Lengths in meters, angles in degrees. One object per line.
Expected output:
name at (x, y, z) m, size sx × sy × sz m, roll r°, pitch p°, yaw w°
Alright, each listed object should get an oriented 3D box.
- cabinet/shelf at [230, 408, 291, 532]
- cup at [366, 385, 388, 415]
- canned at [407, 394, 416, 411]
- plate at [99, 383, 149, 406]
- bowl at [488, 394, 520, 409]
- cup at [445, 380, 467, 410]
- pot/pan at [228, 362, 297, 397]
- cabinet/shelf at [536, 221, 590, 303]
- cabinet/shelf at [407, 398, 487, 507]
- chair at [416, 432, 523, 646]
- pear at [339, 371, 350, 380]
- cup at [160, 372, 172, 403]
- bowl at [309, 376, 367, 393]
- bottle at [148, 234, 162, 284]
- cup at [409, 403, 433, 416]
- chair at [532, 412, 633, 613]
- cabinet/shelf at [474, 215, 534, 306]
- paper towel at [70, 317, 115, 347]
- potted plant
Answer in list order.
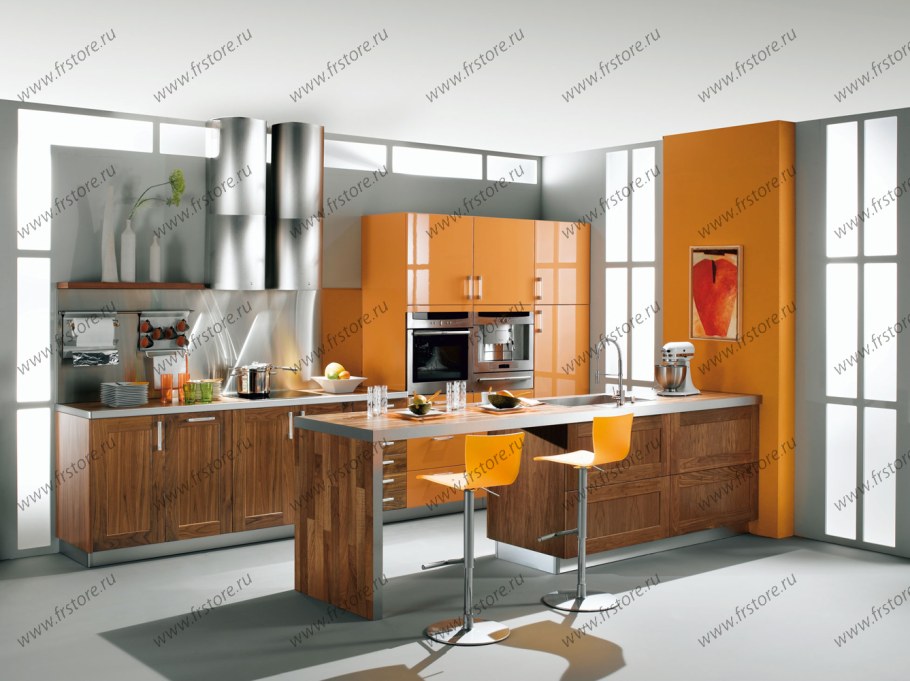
cabinet/shelf at (-1.485, 1.047, 6.304) m, size 0.675 × 0.942 × 0.659 m, roll 5°, pitch -11°, yaw -22°
cup at (-0.510, 0.387, 4.949) m, size 0.154 × 0.259 × 0.171 m, roll -1°, pitch -2°, yaw 9°
canned at (-0.271, 0.395, 4.861) m, size 0.092 × 0.109 × 0.038 m, roll -3°, pitch -6°, yaw 24°
plate at (-2.492, 0.397, 5.754) m, size 0.195 × 0.110 × 0.251 m, roll 1°, pitch 2°, yaw 8°
bowl at (0.325, 0.412, 5.147) m, size 0.201 × 0.107 × 0.115 m, roll 0°, pitch 2°, yaw -4°
cup at (-0.008, 0.374, 5.148) m, size 0.169 × 0.300 × 0.164 m, roll 1°, pitch 3°, yaw 0°
pot/pan at (-1.671, 0.336, 6.599) m, size 0.560 × 0.282 × 0.539 m, roll -1°, pitch 2°, yaw -32°
cabinet/shelf at (0.980, -0.771, 7.899) m, size 0.720 × 0.887 × 0.676 m, roll -2°, pitch 0°, yaw 3°
cabinet/shelf at (-0.033, 1.136, 6.817) m, size 0.770 × 0.729 × 0.423 m, roll -11°, pitch -25°, yaw 27°
chair at (0.089, 1.116, 4.356) m, size 0.509 × 1.105 × 0.492 m, roll -6°, pitch -7°, yaw 35°
pear at (-0.983, 0.312, 6.716) m, size 0.058 × 0.057 × 0.058 m, roll 0°, pitch 1°, yaw 0°
cup at (-2.308, 0.372, 6.031) m, size 0.091 × 0.216 × 0.468 m, roll -1°, pitch 2°, yaw -21°
bowl at (-1.035, 0.394, 6.750) m, size 0.404 × 0.152 × 0.306 m, roll -1°, pitch 2°, yaw -13°
bottle at (-2.465, -0.675, 6.202) m, size 0.100 × 0.383 × 0.199 m, roll -1°, pitch 2°, yaw -22°
cup at (-0.228, 0.435, 4.820) m, size 0.126 × 0.087 × 0.086 m, roll 0°, pitch 2°, yaw -5°
chair at (0.842, 1.044, 4.910) m, size 0.568 × 1.196 × 0.708 m, roll 0°, pitch 2°, yaw 8°
cabinet/shelf at (0.460, -0.727, 7.504) m, size 0.628 × 0.847 × 0.553 m, roll 2°, pitch -8°, yaw -9°
paper towel at (-2.857, -0.086, 5.922) m, size 0.383 × 0.277 × 0.198 m, roll -1°, pitch 4°, yaw -38°
potted plant at (-2.496, -0.923, 6.193) m, size 0.535 × 0.894 × 0.331 m, roll -2°, pitch -7°, yaw -9°
